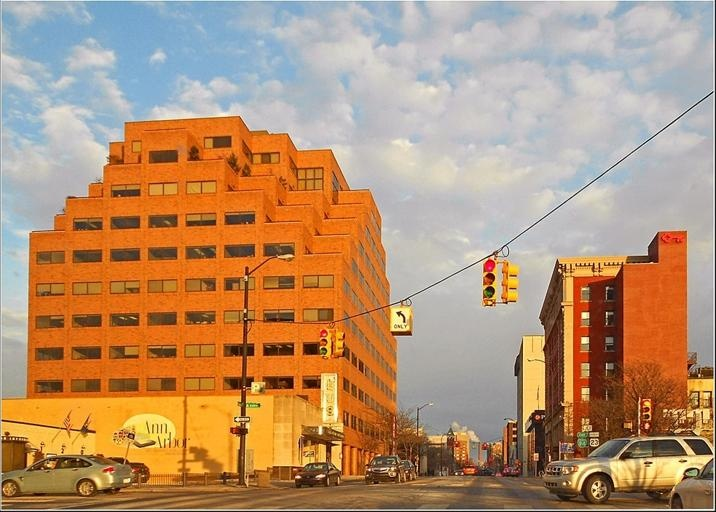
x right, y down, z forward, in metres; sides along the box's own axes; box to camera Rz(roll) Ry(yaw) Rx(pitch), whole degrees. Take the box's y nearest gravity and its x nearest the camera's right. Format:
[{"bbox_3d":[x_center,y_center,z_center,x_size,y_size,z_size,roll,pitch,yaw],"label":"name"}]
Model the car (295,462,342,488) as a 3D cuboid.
[{"bbox_3d":[-3.167,18.409,112.519,2.388,2.678,4.276,-16,-24,35],"label":"car"}]
